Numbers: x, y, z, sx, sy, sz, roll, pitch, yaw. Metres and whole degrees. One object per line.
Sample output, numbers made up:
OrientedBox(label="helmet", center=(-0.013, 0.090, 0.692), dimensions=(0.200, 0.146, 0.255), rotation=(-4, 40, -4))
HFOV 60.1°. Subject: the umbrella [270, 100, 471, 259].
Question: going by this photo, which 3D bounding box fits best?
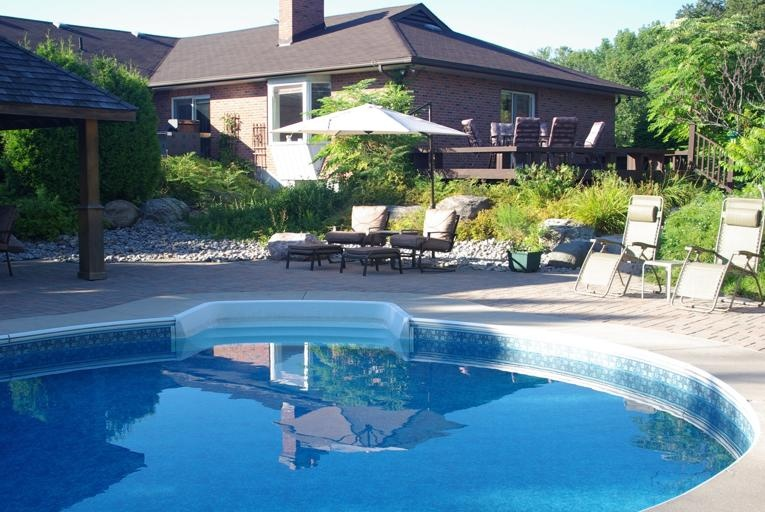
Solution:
OrientedBox(label="umbrella", center=(-0.221, -2.215, 19.393), dimensions=(5.634, 3.336, 4.834), rotation=(0, 12, 5))
